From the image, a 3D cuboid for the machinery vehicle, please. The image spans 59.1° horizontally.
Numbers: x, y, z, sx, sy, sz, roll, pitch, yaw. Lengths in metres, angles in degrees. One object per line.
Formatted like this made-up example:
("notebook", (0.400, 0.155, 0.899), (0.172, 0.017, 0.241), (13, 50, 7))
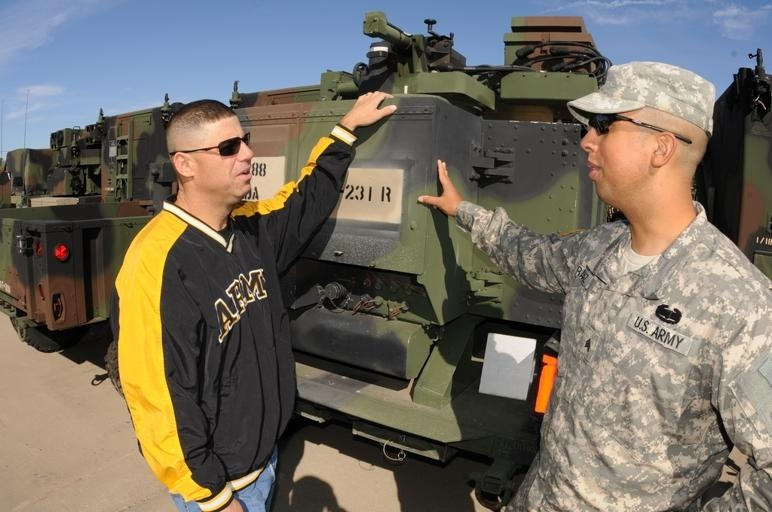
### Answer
("machinery vehicle", (0.485, -0.051, 7.404), (4.802, 3.576, 7.106), (18, 24, 42))
